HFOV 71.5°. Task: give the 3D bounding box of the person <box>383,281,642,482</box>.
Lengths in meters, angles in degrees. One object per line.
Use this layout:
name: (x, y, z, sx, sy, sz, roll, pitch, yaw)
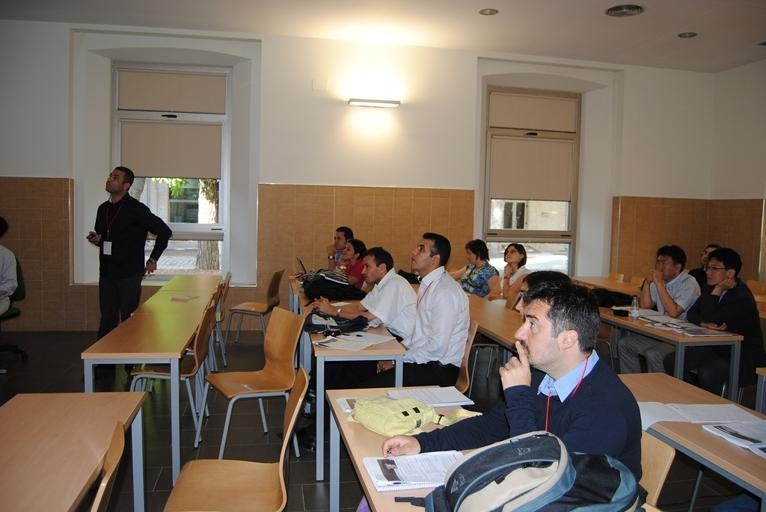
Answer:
person: (0.710, 0.624, 3.096, 1.301, 1.086, 0.883, 3, 3, -7)
